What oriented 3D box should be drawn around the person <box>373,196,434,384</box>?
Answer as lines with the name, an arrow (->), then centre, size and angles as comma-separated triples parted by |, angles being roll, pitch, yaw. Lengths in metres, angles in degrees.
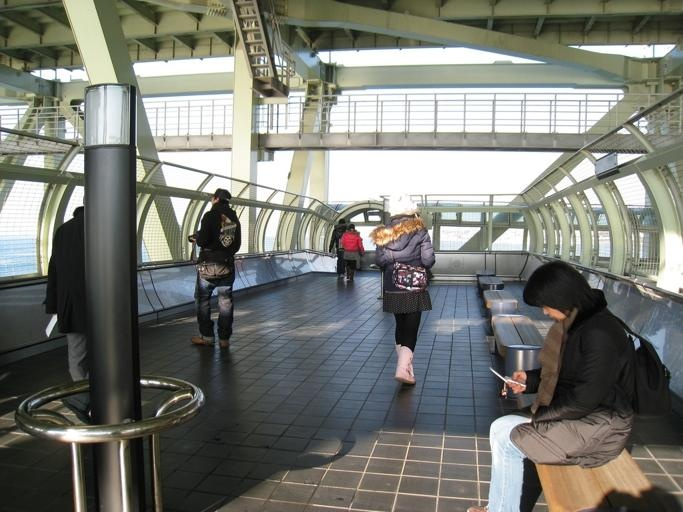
person -> 0.852, 0.403, 5.593 | 0.649, 2.282, 0.643 | -3, 6, -17

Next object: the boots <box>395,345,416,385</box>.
boots -> 0.828, 1.407, 5.600 | 0.259, 0.401, 0.597 | 4, -19, 17

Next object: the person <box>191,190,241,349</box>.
person -> -2.041, 0.173, 7.093 | 0.811, 2.576, 0.406 | -3, 6, -18

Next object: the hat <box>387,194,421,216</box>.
hat -> 0.823, -0.744, 5.946 | 0.386, 0.153, 0.486 | 0, 1, 2

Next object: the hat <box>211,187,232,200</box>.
hat -> -1.968, -1.059, 7.110 | 0.240, 0.121, 0.178 | 22, 11, 25
